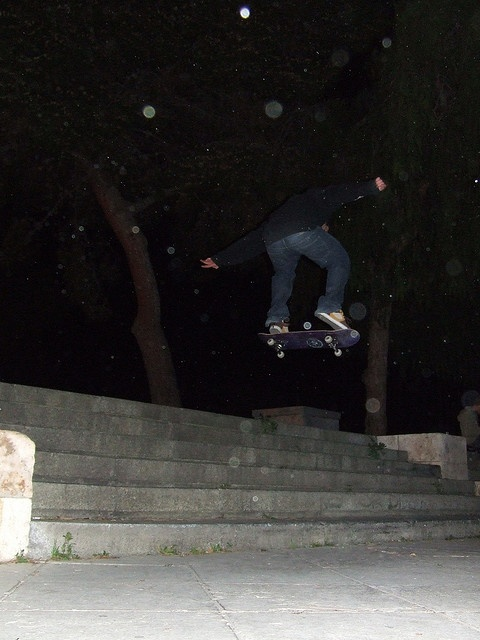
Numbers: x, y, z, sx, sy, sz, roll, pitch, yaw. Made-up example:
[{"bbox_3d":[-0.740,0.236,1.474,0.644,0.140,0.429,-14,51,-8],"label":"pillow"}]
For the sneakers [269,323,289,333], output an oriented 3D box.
[{"bbox_3d":[0.528,0.123,8.698,0.249,0.154,0.219,1,-4,0],"label":"sneakers"}]
